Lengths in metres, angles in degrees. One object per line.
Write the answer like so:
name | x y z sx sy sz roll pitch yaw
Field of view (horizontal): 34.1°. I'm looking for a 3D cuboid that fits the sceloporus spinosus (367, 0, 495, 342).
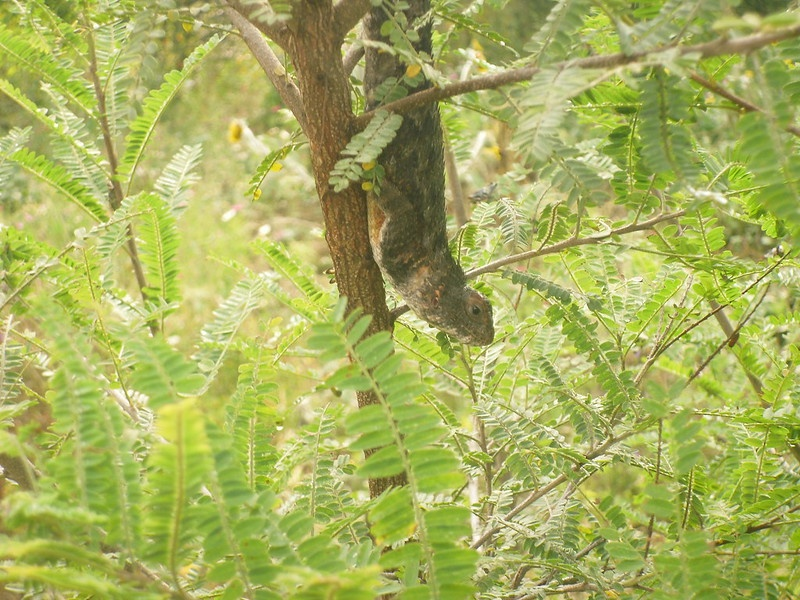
sceloporus spinosus | 0.091 -0.328 3.703 0.294 1.001 0.287 -7 14 5
